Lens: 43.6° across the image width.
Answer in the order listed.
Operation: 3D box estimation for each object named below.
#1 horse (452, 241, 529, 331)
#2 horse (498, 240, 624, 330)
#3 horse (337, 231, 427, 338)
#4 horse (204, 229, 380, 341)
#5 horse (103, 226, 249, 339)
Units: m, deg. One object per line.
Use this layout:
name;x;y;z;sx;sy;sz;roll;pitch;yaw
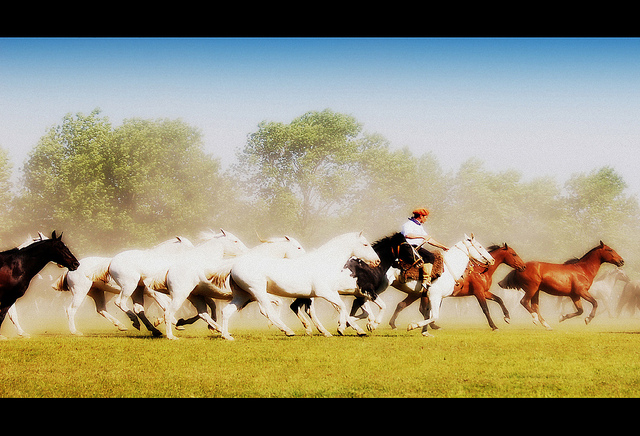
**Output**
horse;5.093;2.366;26.293;0.974;2.606;4.221;13;-18;-42
horse;7.965;2.238;26.527;4.594;2.696;0.949;0;-10;-1
horse;1.237;2.028;23.621;1.255;2.908;4.703;9;-11;-40
horse;-0.623;1.880;21.984;5.012;2.573;1.092;-4;-1;19
horse;-4.204;1.793;22.927;4.820;2.791;1.185;-5;-23;-11
